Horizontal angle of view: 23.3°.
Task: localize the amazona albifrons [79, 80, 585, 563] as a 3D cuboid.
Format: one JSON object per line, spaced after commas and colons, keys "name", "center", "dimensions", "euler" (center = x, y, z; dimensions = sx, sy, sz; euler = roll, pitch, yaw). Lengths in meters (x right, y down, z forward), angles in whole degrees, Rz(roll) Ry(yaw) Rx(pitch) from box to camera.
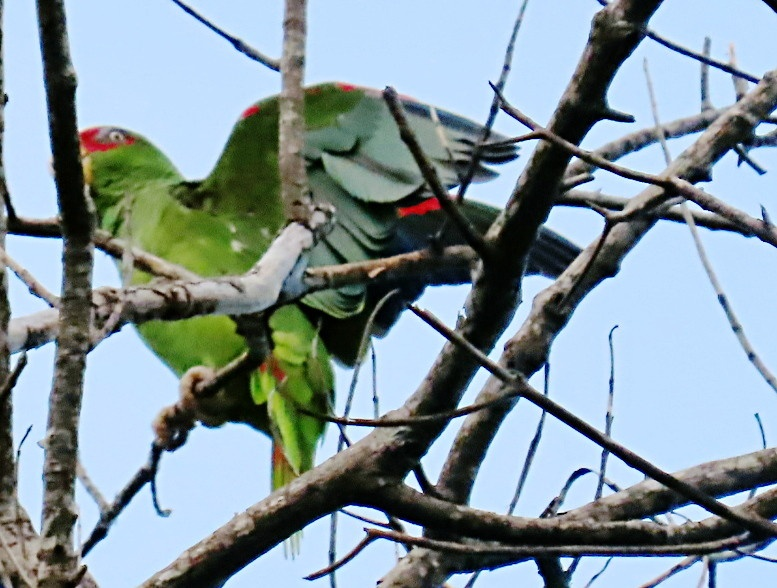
{"name": "amazona albifrons", "center": [-0.260, -0.068, 5.636], "dimensions": [1.211, 0.701, 1.535], "euler": [34, 74, 21]}
